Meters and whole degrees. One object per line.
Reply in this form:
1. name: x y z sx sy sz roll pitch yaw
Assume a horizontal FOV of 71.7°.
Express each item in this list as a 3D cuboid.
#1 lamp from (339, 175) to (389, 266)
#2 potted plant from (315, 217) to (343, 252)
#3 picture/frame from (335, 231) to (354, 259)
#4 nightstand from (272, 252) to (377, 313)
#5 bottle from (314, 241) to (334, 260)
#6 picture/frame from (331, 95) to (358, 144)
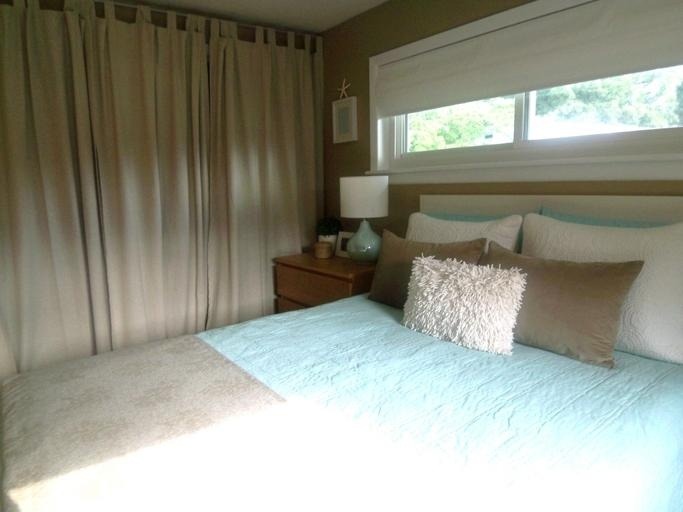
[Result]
1. lamp: 0.157 -0.280 3.508 0.392 0.664 0.388 0 8 18
2. potted plant: -0.112 -0.174 3.898 0.268 0.349 0.246 -1 2 -41
3. picture/frame: 0.022 -0.086 3.787 0.222 0.266 0.019 -2 -7 44
4. nightstand: -0.115 0.340 3.635 0.780 0.576 0.420 9 11 42
5. bottle: -0.138 -0.047 3.830 0.136 0.135 0.134 -7 12 -42
6. picture/frame: 0.029 -1.125 3.913 0.051 0.406 0.352 -8 12 -35
